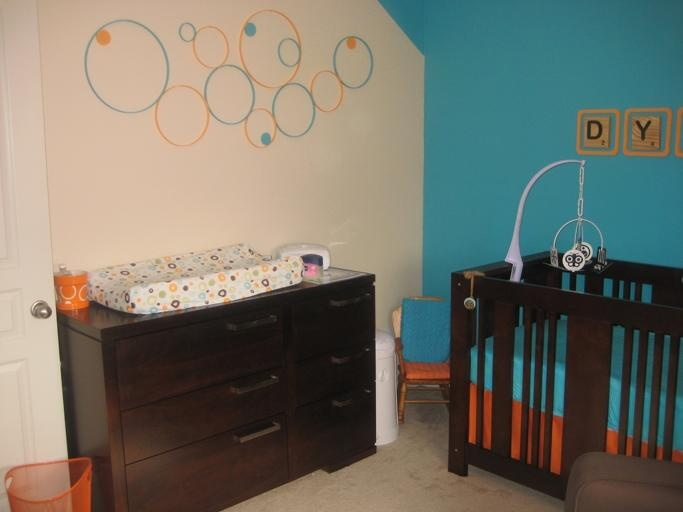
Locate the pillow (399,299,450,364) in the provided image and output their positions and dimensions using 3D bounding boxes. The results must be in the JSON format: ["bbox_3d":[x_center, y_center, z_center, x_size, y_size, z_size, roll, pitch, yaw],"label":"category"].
[{"bbox_3d":[0.524,0.459,3.522,0.330,0.369,0.095,2,-4,-2],"label":"pillow"}]

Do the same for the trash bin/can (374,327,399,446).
[{"bbox_3d":[0.255,0.748,3.236,0.105,0.606,0.186,-1,6,14],"label":"trash bin/can"}]

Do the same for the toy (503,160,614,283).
[{"bbox_3d":[1.056,-0.120,2.850,0.442,0.703,0.222,2,20,22],"label":"toy"}]
